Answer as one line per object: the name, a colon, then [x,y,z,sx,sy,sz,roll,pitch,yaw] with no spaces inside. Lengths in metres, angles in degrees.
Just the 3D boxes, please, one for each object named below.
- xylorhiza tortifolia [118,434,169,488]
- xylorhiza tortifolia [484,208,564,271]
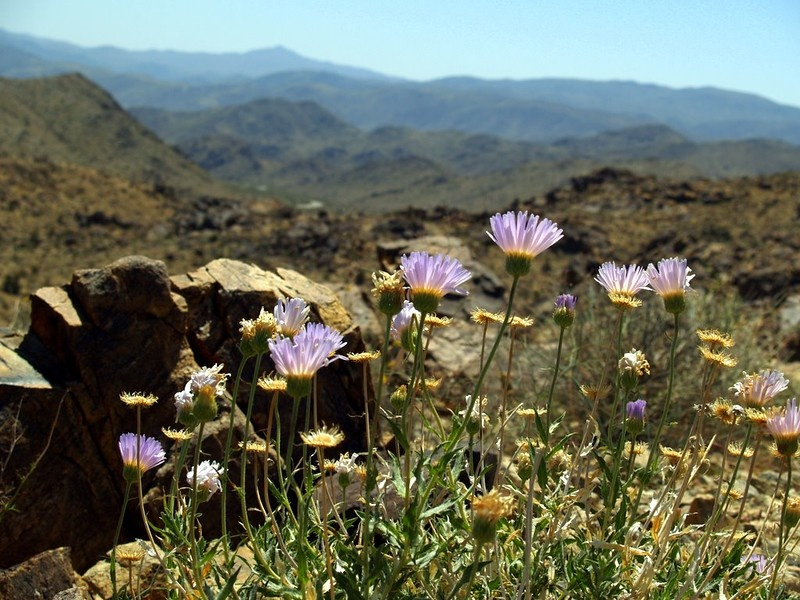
xylorhiza tortifolia: [-1.414,0.864,4.596,0.157,0.298,0.211,14,13,32]
xylorhiza tortifolia: [0.620,-0.290,4.395,0.318,0.312,0.336,7,-6,-38]
